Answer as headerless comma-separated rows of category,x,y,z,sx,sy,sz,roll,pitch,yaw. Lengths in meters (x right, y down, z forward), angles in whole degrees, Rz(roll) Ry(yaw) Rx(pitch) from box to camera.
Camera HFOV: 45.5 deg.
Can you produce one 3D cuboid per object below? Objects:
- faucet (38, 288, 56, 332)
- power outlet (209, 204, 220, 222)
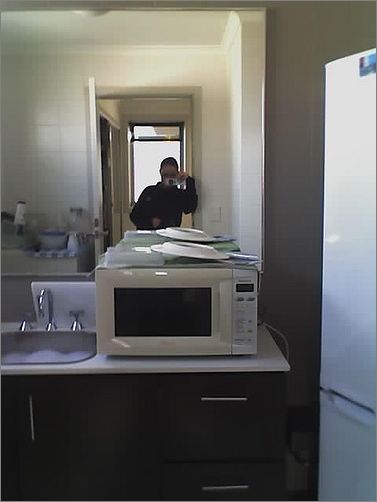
faucet,-0.508,0.215,1.604,0.058,0.151,0.085,-2,7,-18
power outlet,0.100,-0.153,1.762,0.058,0.094,0.009,0,4,-4
